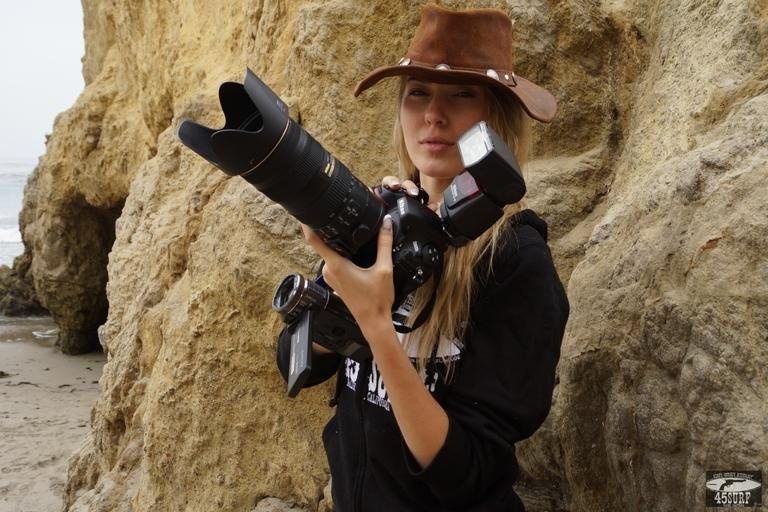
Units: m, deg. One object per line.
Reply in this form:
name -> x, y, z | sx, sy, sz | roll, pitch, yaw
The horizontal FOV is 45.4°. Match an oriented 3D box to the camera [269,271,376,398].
camera -> -0.265, 0.259, 4.334 | 0.463, 0.765, 0.236 | 22, -35, -32
